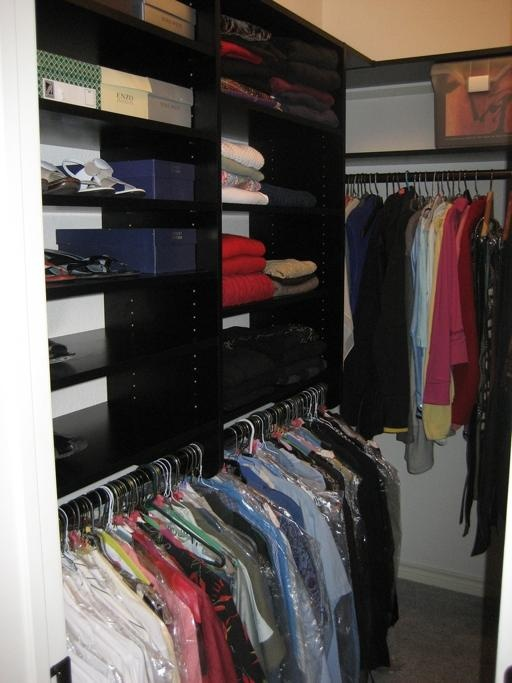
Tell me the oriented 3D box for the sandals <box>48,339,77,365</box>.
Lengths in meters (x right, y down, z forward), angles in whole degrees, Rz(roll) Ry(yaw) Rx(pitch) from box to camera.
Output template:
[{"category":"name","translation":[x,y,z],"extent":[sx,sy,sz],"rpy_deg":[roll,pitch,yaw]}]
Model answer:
[{"category":"sandals","translation":[-0.384,0.023,1.036],"extent":[0.047,0.032,0.109],"rpy_deg":[-2,8,-19]}]

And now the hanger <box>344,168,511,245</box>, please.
[{"category":"hanger","translation":[0.701,-0.609,2.190],"extent":[0.657,0.233,0.510],"rpy_deg":[4,8,20]}]

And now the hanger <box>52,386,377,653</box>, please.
[{"category":"hanger","translation":[0.169,0.204,1.631],"extent":[0.190,0.204,1.731],"rpy_deg":[11,21,31]}]

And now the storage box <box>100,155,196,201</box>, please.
[{"category":"storage box","translation":[-0.210,-0.347,1.142],"extent":[0.134,0.088,0.137],"rpy_deg":[13,20,37]}]
